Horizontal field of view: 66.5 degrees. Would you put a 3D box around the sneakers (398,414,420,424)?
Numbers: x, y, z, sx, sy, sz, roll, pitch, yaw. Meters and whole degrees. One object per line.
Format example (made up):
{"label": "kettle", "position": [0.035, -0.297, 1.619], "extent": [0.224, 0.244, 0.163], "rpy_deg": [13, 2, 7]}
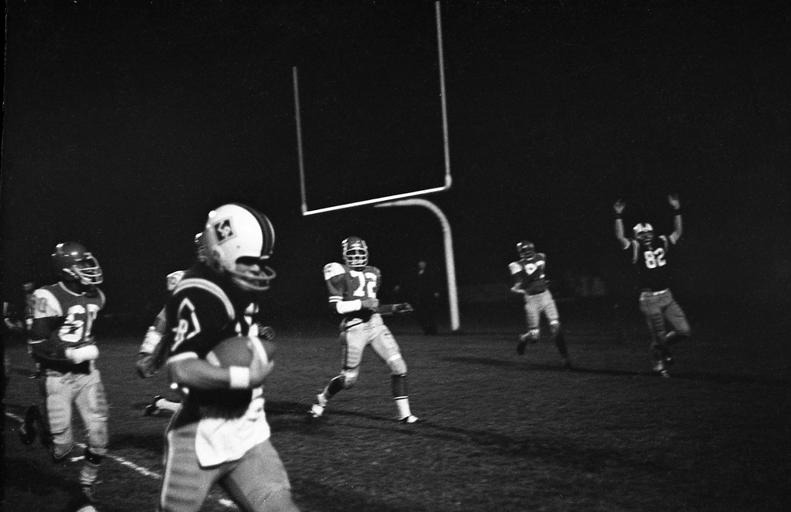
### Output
{"label": "sneakers", "position": [0.156, 1.784, 6.594], "extent": [0.186, 0.073, 0.116], "rpy_deg": [-11, -10, 29]}

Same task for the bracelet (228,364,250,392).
{"label": "bracelet", "position": [-0.932, 0.736, 3.629], "extent": [0.168, 0.114, 0.141], "rpy_deg": [8, -42, -8]}

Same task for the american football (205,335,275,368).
{"label": "american football", "position": [-0.950, 0.583, 3.630], "extent": [0.298, 0.158, 0.185], "rpy_deg": [-1, -27, -5]}

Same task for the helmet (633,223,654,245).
{"label": "helmet", "position": [3.175, -0.272, 7.742], "extent": [0.268, 0.221, 0.255], "rpy_deg": [-7, -6, 0]}

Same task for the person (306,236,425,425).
{"label": "person", "position": [-0.388, 0.850, 6.694], "extent": [1.161, 2.066, 0.938], "rpy_deg": [-4, 8, -15]}

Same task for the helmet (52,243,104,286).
{"label": "helmet", "position": [-2.840, 0.070, 5.398], "extent": [0.475, 0.361, 0.357], "rpy_deg": [1, 8, -29]}

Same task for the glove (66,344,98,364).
{"label": "glove", "position": [-2.700, 0.836, 5.234], "extent": [0.204, 0.110, 0.148], "rpy_deg": [-16, 2, -11]}

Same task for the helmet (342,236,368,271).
{"label": "helmet", "position": [-0.472, -0.006, 6.919], "extent": [0.343, 0.360, 0.399], "rpy_deg": [0, -11, -10]}
